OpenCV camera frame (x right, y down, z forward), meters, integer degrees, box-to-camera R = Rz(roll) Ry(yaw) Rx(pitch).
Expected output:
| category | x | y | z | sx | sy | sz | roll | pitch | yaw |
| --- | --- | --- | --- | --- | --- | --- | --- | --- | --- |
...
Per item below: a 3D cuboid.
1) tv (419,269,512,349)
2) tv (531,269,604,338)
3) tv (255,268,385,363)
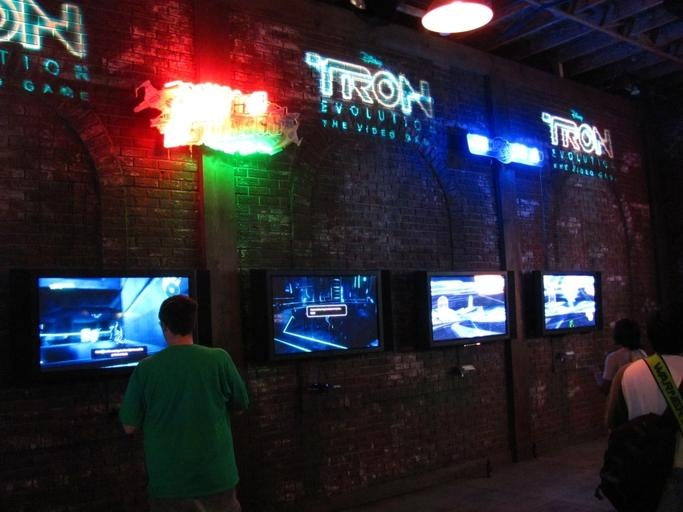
| category | x | y | z | sx | sy | sz | roll | pitch | yaw |
| --- | --- | --- | --- | --- | --- | --- | --- | --- | --- |
| tv | 1.363 | 0.551 | 6.355 | 1.116 | 0.767 | 0.039 | -1 | -2 | -30 |
| tv | 2.857 | 0.564 | 7.313 | 1.201 | 0.763 | 0.101 | -1 | -2 | -33 |
| tv | -0.252 | 0.556 | 5.485 | 0.947 | 0.560 | 0.140 | 1 | -9 | -29 |
